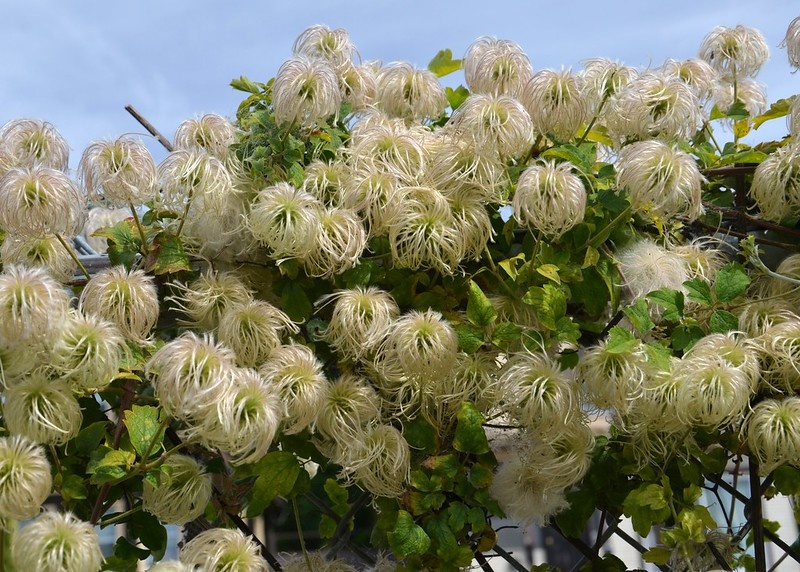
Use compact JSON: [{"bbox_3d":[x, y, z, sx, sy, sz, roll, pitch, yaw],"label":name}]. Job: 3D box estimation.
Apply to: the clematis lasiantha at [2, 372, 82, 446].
[{"bbox_3d":[-0.861,0.293,3.023,0.157,0.169,0.165,6,-19,4],"label":"clematis lasiantha"}]
